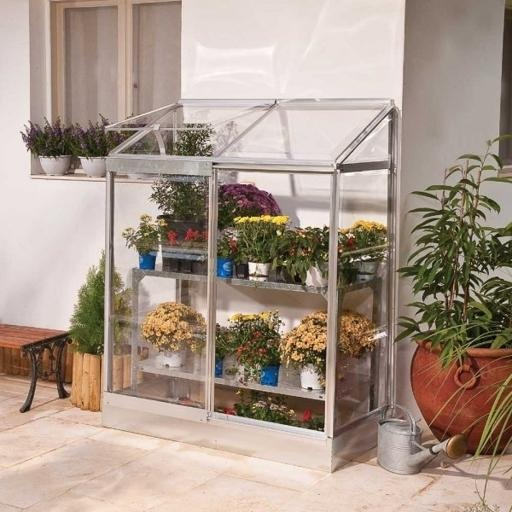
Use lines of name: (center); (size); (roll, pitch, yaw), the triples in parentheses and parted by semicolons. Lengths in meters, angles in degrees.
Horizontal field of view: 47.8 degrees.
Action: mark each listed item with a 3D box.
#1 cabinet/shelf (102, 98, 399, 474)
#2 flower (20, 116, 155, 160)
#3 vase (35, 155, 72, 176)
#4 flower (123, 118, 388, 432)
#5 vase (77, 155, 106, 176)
cabinet/shelf: (-0.085, 0.125, 3.682); (1.709, 2.055, 0.744); (4, 7, 33)
flower: (-1.303, -0.893, 4.414); (0.558, 0.243, 0.377); (1, 12, 6)
vase: (-1.697, -0.755, 4.833); (0.195, 0.125, 0.196); (-1, 2, -3)
flower: (0.031, 0.104, 3.340); (1.813, 2.046, 0.675); (3, 3, 30)
vase: (-1.322, -0.723, 4.643); (0.185, 0.119, 0.186); (4, 10, 23)
